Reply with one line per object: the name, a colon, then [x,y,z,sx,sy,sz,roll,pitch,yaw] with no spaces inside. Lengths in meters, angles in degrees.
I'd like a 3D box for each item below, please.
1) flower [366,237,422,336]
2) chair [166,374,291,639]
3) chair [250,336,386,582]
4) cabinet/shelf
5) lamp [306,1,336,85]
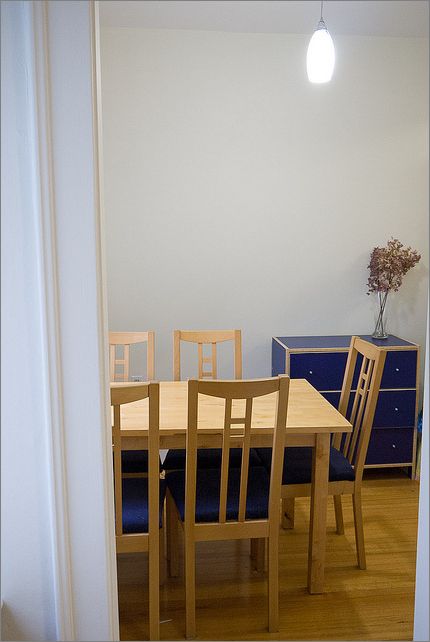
flower: [1.086,-0.210,3.286,0.300,0.607,0.453,2,5,19]
chair: [0.037,0.568,1.891,0.423,0.866,0.655,-1,5,-7]
chair: [0.429,0.530,2.514,0.562,1.573,0.701,0,5,-5]
cabinet/shelf: [0.714,0.218,3.234,0.795,1.351,0.607,-1,3,-6]
lamp: [0.428,-1.128,2.165,0.099,0.282,0.237,1,5,12]
